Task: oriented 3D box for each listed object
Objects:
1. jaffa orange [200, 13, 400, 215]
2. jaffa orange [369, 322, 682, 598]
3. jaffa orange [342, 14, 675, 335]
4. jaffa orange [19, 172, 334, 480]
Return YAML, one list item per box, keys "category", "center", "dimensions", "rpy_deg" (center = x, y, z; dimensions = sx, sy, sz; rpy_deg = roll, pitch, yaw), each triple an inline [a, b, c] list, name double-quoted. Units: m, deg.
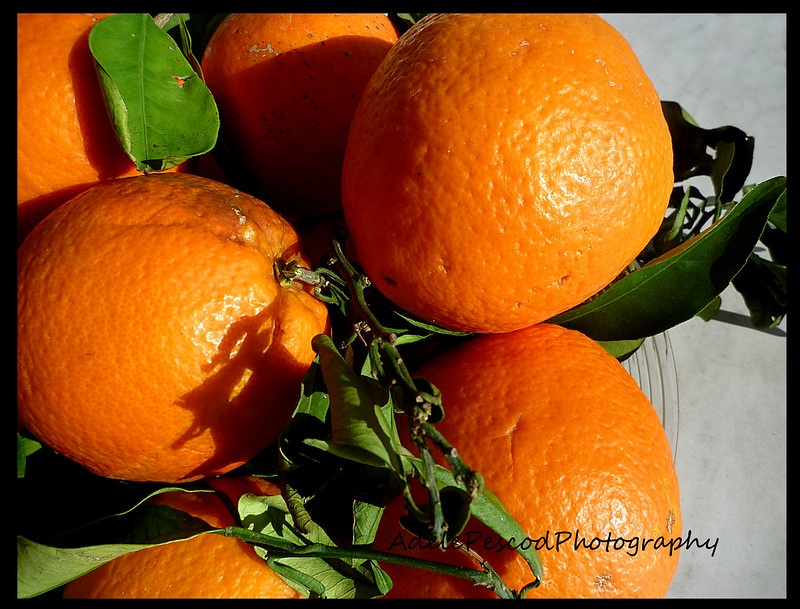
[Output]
- category: "jaffa orange"
  center: [-0.133, -0.268, 1.059]
  dimensions: [0.235, 0.219, 0.331]
  rpy_deg: [-12, 38, -19]
- category: "jaffa orange"
  center: [0.176, 0.148, 0.938]
  dimensions: [0.274, 0.306, 0.437]
  rpy_deg: [-1, 21, -1]
- category: "jaffa orange"
  center: [0.095, -0.173, 0.909]
  dimensions: [0.309, 0.378, 0.332]
  rpy_deg: [12, 43, 42]
- category: "jaffa orange"
  center: [-0.242, 0.028, 0.863]
  dimensions: [0.320, 0.259, 0.218]
  rpy_deg: [-2, 38, -8]
